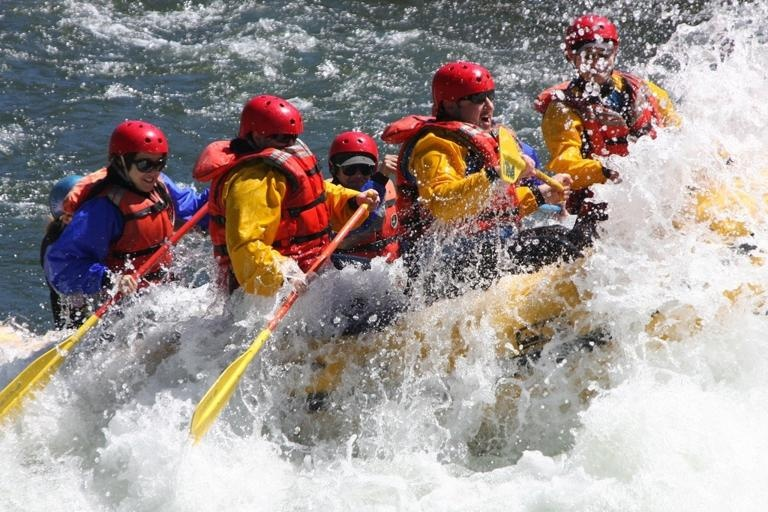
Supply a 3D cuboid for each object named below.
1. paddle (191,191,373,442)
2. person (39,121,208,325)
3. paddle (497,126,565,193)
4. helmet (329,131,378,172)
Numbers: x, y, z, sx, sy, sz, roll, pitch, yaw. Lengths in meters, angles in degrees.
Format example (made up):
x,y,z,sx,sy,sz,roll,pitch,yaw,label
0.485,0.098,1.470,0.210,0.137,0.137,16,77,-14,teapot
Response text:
x,y,z,sx,sy,sz,roll,pitch,yaw,label
-0.821,0.548,7.566,0.124,0.307,2.705,2,48,47,paddle
-2.398,-0.248,8.642,1.046,1.948,1.432,9,35,15,person
1.215,-0.768,7.509,0.122,0.596,0.328,-22,58,34,paddle
-0.279,-0.935,8.763,0.325,0.396,0.365,2,55,-15,helmet
